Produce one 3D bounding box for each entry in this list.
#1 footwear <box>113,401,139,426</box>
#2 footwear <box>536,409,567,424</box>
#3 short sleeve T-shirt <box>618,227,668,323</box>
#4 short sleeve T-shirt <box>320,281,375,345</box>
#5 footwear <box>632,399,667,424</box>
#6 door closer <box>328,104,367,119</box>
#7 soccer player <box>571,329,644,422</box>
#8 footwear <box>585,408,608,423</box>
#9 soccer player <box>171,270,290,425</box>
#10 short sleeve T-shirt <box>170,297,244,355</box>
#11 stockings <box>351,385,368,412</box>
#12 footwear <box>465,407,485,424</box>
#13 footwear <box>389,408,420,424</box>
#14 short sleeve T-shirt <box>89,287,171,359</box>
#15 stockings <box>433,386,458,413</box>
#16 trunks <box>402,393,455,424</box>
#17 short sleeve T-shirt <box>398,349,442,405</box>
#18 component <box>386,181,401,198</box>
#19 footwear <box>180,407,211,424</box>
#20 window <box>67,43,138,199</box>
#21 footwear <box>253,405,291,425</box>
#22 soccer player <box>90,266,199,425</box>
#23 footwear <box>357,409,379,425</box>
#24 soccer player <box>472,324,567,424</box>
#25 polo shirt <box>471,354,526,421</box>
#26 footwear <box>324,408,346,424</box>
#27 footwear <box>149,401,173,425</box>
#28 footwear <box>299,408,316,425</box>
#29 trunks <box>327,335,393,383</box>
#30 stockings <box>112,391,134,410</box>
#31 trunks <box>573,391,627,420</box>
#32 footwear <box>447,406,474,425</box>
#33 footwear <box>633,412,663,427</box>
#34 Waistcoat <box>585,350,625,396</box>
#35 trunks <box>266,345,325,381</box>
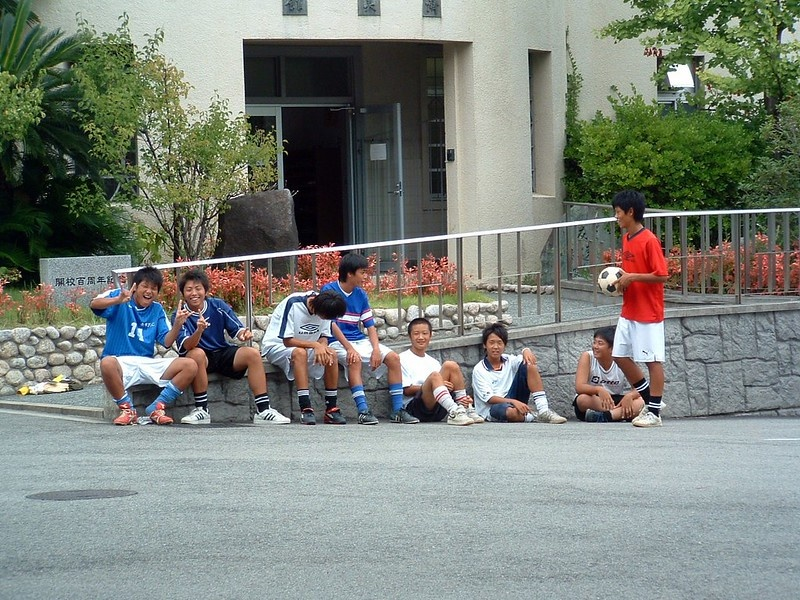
[{"bbox_3d":[-2.203,0.910,6.951,0.179,0.164,0.271,0,2,-17],"label":"footwear"},{"bbox_3d":[1.381,1.062,7.894,0.275,0.119,0.107,-1,-2,27],"label":"footwear"},{"bbox_3d":[2.051,-0.198,7.292,0.343,0.783,0.395,1,2,14],"label":"short sleeve T-shirt"},{"bbox_3d":[-0.483,0.135,7.743,0.476,0.510,0.286,-6,11,-34],"label":"short sleeve T-shirt"},{"bbox_3d":[2.186,0.984,7.539,0.142,0.197,0.437,-1,-4,37],"label":"footwear"},{"bbox_3d":[-0.858,-3.259,14.962,0.430,0.113,0.295,0,2,-25],"label":"door closer"},{"bbox_3d":[2.002,0.726,8.248,0.668,0.917,0.776,-1,-5,29],"label":"soccer player"},{"bbox_3d":[1.837,1.084,8.142,0.218,0.083,0.103,-2,0,-1],"label":"footwear"},{"bbox_3d":[-1.477,0.376,7.331,1.053,1.401,0.873,-7,-9,21],"label":"soccer player"},{"bbox_3d":[-1.673,0.201,7.440,0.697,0.569,0.417,-8,11,-22],"label":"short sleeve T-shirt"},{"bbox_3d":[-0.361,0.876,7.733,0.140,0.238,0.284,0,2,-5],"label":"stockings"},{"bbox_3d":[0.643,1.040,7.815,0.080,0.108,0.231,0,7,-43],"label":"footwear"},{"bbox_3d":[0.029,1.047,7.804,0.298,0.124,0.217,1,2,18],"label":"footwear"},{"bbox_3d":[-2.233,0.255,7.266,0.676,0.700,0.330,9,-21,-35],"label":"short sleeve T-shirt"},{"bbox_3d":[0.407,0.888,7.749,0.146,0.268,0.115,-17,-12,-19],"label":"stockings"},{"bbox_3d":[0.218,0.997,7.996,0.340,0.220,0.145,3,43,14],"label":"trunks"},{"bbox_3d":[0.175,0.735,8.056,0.405,0.419,0.234,7,-16,-30],"label":"short sleeve T-shirt"},{"bbox_3d":[-0.104,-1.811,14.473,0.220,0.204,0.291,-3,-12,-5],"label":"component"},{"bbox_3d":[-1.678,0.955,7.155,0.105,0.142,0.293,-2,-8,35],"label":"footwear"},{"bbox_3d":[-3.731,-2.375,11.038,0.823,2.111,0.997,0,2,-22],"label":"window"},{"bbox_3d":[-1.101,0.986,7.388,0.308,0.143,0.130,0,-2,14],"label":"footwear"},{"bbox_3d":[-2.144,0.380,7.171,0.838,1.400,0.729,3,-11,-25],"label":"soccer player"},{"bbox_3d":[-0.291,1.042,7.613,0.080,0.088,0.205,1,-4,-36],"label":"footwear"},{"bbox_3d":[1.082,0.681,8.069,0.925,0.956,0.633,-8,-4,37],"label":"soccer player"},{"bbox_3d":[0.850,0.839,8.344,0.534,0.666,0.501,4,-9,-34],"label":"polo shirt"},{"bbox_3d":[-0.580,1.013,7.582,0.086,0.111,0.239,1,-1,-37],"label":"footwear"},{"bbox_3d":[-1.950,0.919,7.049,0.136,0.163,0.206,-1,2,-38],"label":"footwear"},{"bbox_3d":[-0.794,0.994,7.411,0.087,0.122,0.156,-1,2,-37],"label":"footwear"},{"bbox_3d":[-0.424,0.495,8.017,0.396,0.426,0.162,-2,13,-20],"label":"trunks"},{"bbox_3d":[-2.250,0.817,7.034,0.121,0.137,0.176,2,1,29],"label":"stockings"},{"bbox_3d":[1.901,1.000,8.187,0.292,0.313,0.095,4,-39,16],"label":"trunks"},{"bbox_3d":[0.544,1.018,7.626,0.230,0.151,0.196,0,2,-11],"label":"footwear"},{"bbox_3d":[2.100,1.011,7.371,0.238,0.119,0.106,2,3,-8],"label":"footwear"},{"bbox_3d":[1.957,0.700,8.244,0.418,0.509,0.267,-2,-2,-7],"label":"Waistcoat"},{"bbox_3d":[-0.933,0.541,7.656,0.386,0.199,0.357,23,8,26],"label":"trunks"}]
